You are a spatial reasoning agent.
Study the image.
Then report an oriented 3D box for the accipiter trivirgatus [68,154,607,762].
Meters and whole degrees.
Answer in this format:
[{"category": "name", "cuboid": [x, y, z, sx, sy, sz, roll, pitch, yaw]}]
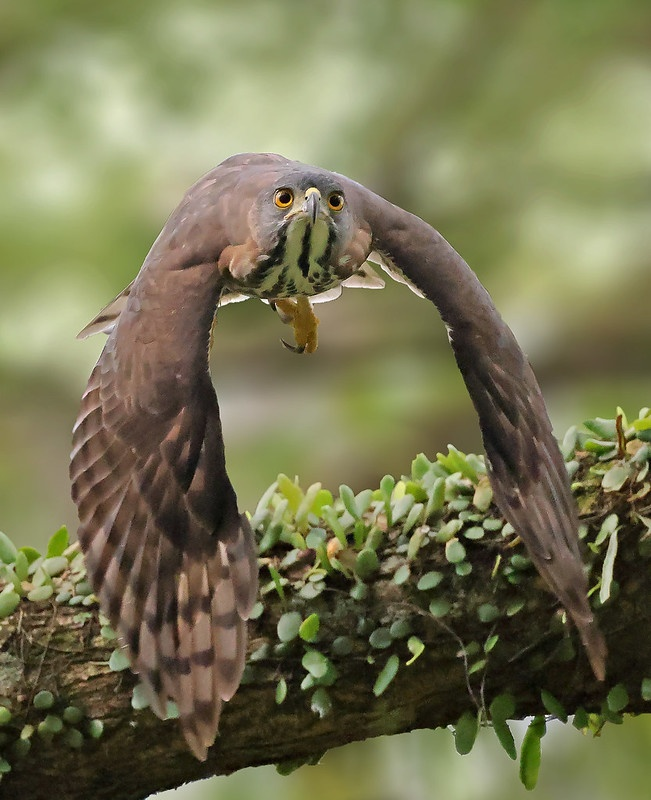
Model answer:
[{"category": "accipiter trivirgatus", "cuboid": [0.146, 0.159, 4.418, 1.516, 1.777, 1.137, -9, -32, 10]}]
